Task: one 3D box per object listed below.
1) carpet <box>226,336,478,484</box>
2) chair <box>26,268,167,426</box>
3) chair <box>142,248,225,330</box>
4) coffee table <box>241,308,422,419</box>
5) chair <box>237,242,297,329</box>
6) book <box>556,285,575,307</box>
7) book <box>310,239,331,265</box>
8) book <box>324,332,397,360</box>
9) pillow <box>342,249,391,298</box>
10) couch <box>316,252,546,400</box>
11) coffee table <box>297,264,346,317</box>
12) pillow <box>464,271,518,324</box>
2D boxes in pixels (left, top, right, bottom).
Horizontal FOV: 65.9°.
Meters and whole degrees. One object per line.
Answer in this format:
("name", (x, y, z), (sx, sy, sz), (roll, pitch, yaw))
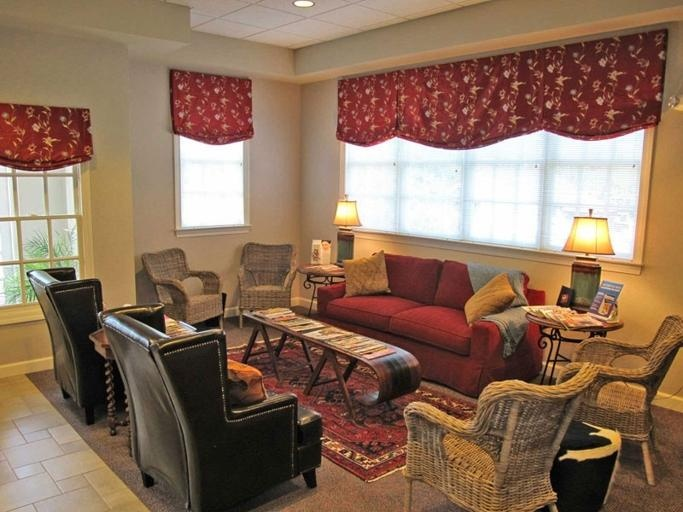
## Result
("carpet", (-0.331, 1.260, 5.148), (1.261, 0.046, 2.994), (-22, 21, -39))
("chair", (-2.210, 0.678, 5.170), (1.466, 1.670, 1.304), (-3, 7, -34))
("chair", (-1.938, 0.413, 6.362), (0.871, 0.815, 0.789), (6, 11, 5))
("coffee table", (-0.222, 0.939, 4.999), (0.533, 0.555, 2.028), (-1, 8, -43))
("chair", (-0.971, 0.339, 6.878), (0.894, 0.889, 0.798), (-4, 13, -28))
("book", (1.993, 0.369, 4.748), (0.042, 0.149, 0.161), (16, 12, -9))
("book", (-0.336, -0.067, 6.792), (0.329, 0.343, 0.323), (1, 2, -11))
("book", (0.163, 0.771, 4.519), (0.518, 0.104, 0.400), (2, 8, 34))
("pillow", (0.291, 0.228, 6.207), (0.630, 0.525, 0.203), (-3, -15, -5))
("couch", (0.927, 0.591, 5.771), (1.111, 0.962, 2.284), (-12, 16, -41))
("coffee table", (-0.227, 0.442, 6.806), (0.743, 0.473, 0.716), (-3, 7, -38))
("pillow", (1.416, 0.409, 5.061), (0.429, 0.451, 0.337), (-2, 8, 5))
